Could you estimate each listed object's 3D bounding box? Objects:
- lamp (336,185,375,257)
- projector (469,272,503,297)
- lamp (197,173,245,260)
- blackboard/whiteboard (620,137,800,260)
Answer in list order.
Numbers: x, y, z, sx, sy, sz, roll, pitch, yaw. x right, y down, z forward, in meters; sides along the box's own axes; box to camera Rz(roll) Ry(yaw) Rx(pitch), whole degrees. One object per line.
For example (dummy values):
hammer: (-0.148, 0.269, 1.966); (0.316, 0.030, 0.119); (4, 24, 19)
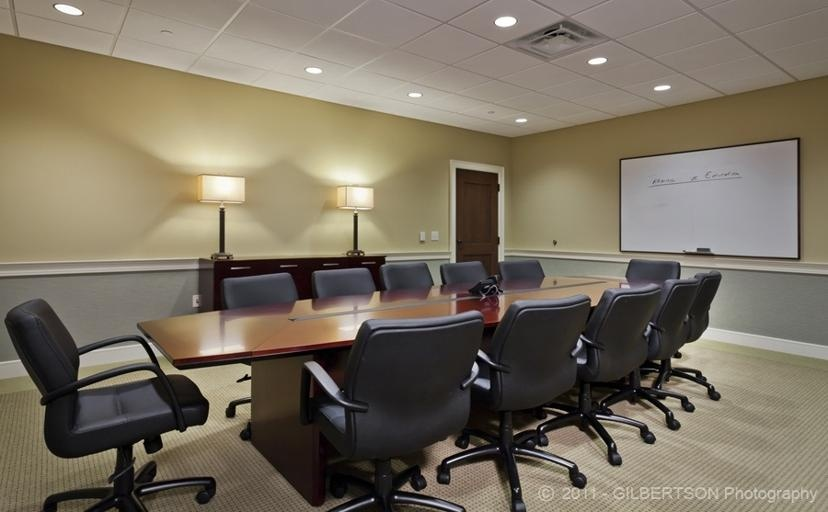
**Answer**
lamp: (-0.760, -0.482, 6.472); (0.440, 0.918, 0.503); (-2, 6, -23)
projector: (0.689, 0.273, 4.680); (0.274, 0.109, 0.198); (-4, 1, -24)
lamp: (-2.177, -0.447, 5.601); (0.490, 0.936, 0.563); (-2, 6, -23)
blackboard/whiteboard: (3.853, -0.738, 6.283); (1.772, 1.170, 0.134); (-1, -2, 40)
